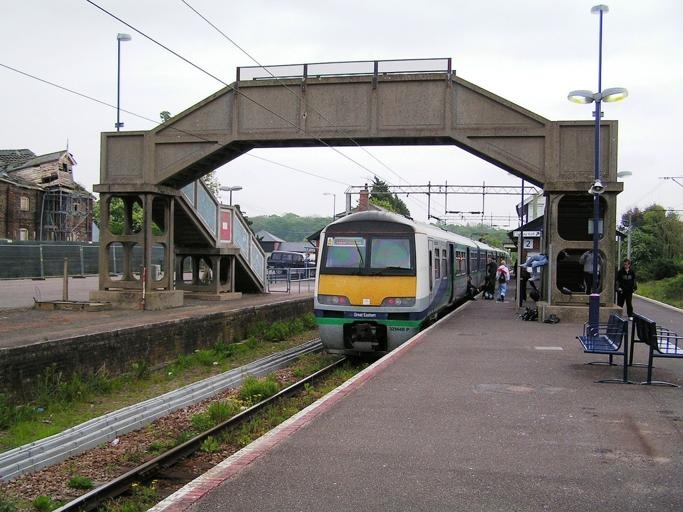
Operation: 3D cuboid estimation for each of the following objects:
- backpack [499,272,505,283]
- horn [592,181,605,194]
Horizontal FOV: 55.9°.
[{"bbox_3d":[6.483,0.841,26.023,0.347,0.319,0.524,-3,-8,25],"label":"backpack"},{"bbox_3d":[6.577,-1.750,16.626,0.319,0.245,0.476,-1,16,11],"label":"horn"}]
